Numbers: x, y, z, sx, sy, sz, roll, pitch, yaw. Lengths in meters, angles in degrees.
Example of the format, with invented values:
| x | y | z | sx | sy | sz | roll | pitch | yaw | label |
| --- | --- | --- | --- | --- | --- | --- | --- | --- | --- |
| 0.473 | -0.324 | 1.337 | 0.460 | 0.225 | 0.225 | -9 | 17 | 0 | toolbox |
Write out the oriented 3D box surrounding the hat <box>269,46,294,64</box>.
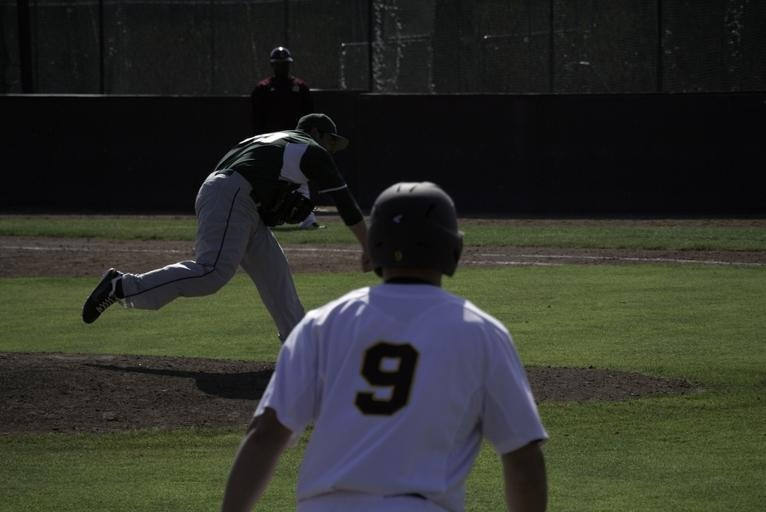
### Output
| x | y | z | sx | sy | sz | roll | pitch | yaw | label |
| --- | --- | --- | --- | --- | --- | --- | --- | --- | --- |
| -1.718 | -3.339 | 22.105 | 0.307 | 0.265 | 0.371 | 1 | 6 | -12 | hat |

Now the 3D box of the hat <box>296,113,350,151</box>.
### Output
| x | y | z | sx | sy | sz | roll | pitch | yaw | label |
| --- | --- | --- | --- | --- | --- | --- | --- | --- | --- |
| -0.699 | -1.475 | 15.354 | 0.654 | 0.303 | 0.437 | 10 | -12 | -8 | hat |
